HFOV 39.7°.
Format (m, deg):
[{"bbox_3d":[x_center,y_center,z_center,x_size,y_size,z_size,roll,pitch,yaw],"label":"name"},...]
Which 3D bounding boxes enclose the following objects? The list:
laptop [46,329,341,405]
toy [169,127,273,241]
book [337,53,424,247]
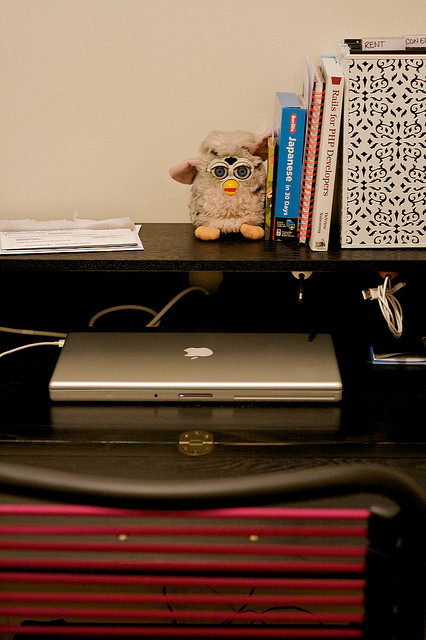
[{"bbox_3d":[-0.036,0.080,0.990,0.334,0.031,0.187,1,17,1],"label":"laptop"},{"bbox_3d":[0.021,-0.237,1.021,0.192,0.180,0.120,1,23,0],"label":"toy"},{"bbox_3d":[0.260,-0.245,0.894,0.146,0.281,0.050,4,20,9],"label":"book"}]
